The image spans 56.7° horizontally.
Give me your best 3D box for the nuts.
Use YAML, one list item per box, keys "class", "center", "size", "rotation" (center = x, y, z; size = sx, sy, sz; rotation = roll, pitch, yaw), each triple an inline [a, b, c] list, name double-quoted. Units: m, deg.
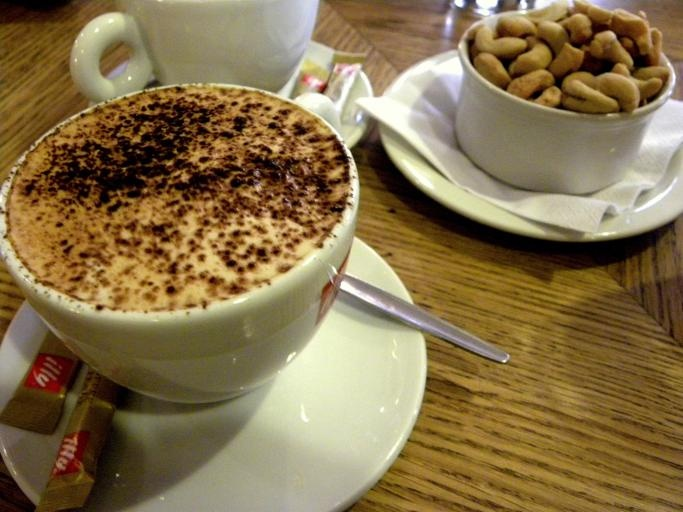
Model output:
- class: "nuts"
  center: [0.335, -0.286, 0.954]
  size: [0.236, 0.099, 0.215]
  rotation: [14, 45, 15]
